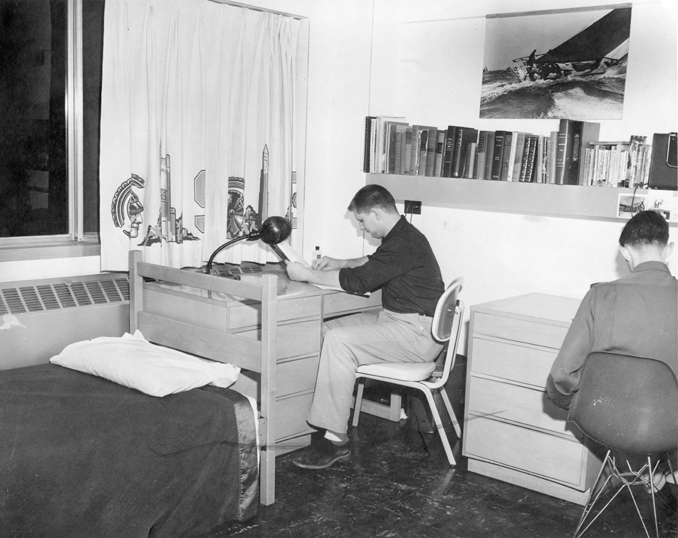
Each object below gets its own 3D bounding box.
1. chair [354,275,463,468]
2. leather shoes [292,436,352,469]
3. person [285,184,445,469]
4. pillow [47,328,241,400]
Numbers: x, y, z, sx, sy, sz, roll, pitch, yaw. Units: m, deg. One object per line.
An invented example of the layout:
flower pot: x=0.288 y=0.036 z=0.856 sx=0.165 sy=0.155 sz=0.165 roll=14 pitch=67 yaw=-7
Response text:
chair: x=0.391 y=0.518 z=3.045 sx=0.511 sy=0.930 sz=0.474 roll=4 pitch=1 yaw=20
leather shoes: x=-0.096 y=0.969 z=2.913 sx=0.338 sy=0.161 sz=0.123 roll=-5 pitch=5 yaw=-41
person: x=0.205 y=0.315 z=3.228 sx=0.782 sy=1.504 sz=0.668 roll=1 pitch=4 yaw=17
pillow: x=-0.905 y=0.408 z=2.471 sx=0.555 sy=0.116 sz=0.362 roll=16 pitch=15 yaw=32
